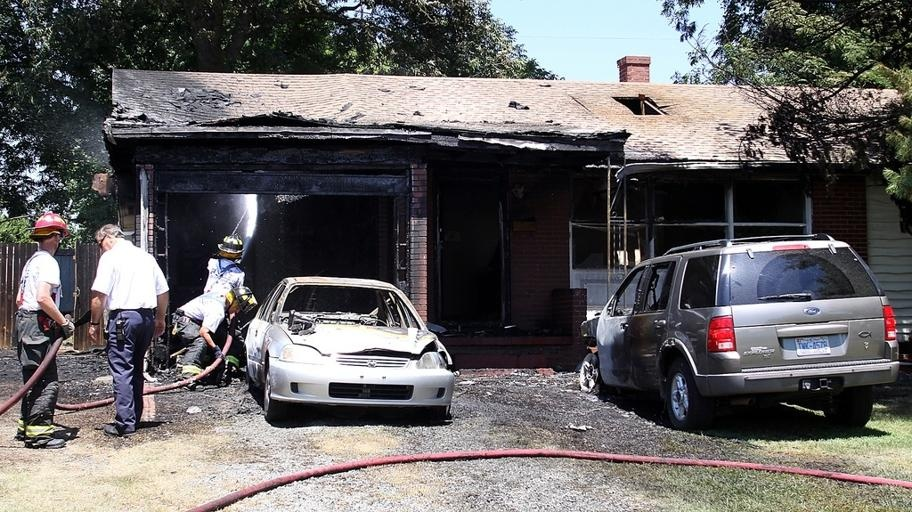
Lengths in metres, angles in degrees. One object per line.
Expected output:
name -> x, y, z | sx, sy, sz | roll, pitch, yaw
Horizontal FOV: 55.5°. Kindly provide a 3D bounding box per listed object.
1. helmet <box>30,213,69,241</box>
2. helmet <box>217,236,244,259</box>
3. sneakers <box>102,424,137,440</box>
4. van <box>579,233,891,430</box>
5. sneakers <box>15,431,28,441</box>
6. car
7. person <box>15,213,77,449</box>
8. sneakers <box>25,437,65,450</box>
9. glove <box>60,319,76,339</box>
helmet -> -6.299, -0.455, 13.475 | 0.576, 0.319, 0.416 | 3, -4, -39
helmet -> -4.461, -0.188, 17.105 | 0.488, 0.416, 0.632 | 19, 0, -6
sneakers -> -5.317, 2.749, 13.653 | 0.428, 0.130, 0.217 | 5, 4, 1
van -> 4.559, 1.146, 15.065 | 3.099, 1.899, 4.585 | 0, 3, -16
sneakers -> -6.630, 2.736, 13.200 | 0.152, 0.083, 0.181 | 5, 3, -16
car -> -2.040, 1.555, 15.432 | 3.123, 2.305, 3.322 | 1, 1, -17
person -> -6.321, 1.099, 13.298 | 0.795, 3.526, 0.769 | 1, 1, -25
sneakers -> -6.192, 2.813, 13.072 | 0.516, 0.182, 0.211 | -1, 1, -9
glove -> -6.064, 1.104, 13.397 | 0.257, 0.293, 0.336 | 2, 0, -20
